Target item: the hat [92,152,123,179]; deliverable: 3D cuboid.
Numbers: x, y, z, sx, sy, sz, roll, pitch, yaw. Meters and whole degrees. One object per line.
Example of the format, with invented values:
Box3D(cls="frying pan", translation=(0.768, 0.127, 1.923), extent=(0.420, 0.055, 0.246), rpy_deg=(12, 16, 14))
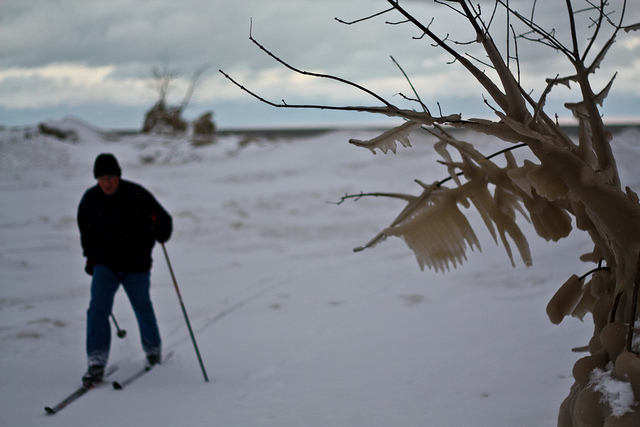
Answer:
Box3D(cls="hat", translation=(-1.474, -0.327, 4.409), extent=(0.172, 0.172, 0.193), rpy_deg=(1, 23, 0))
